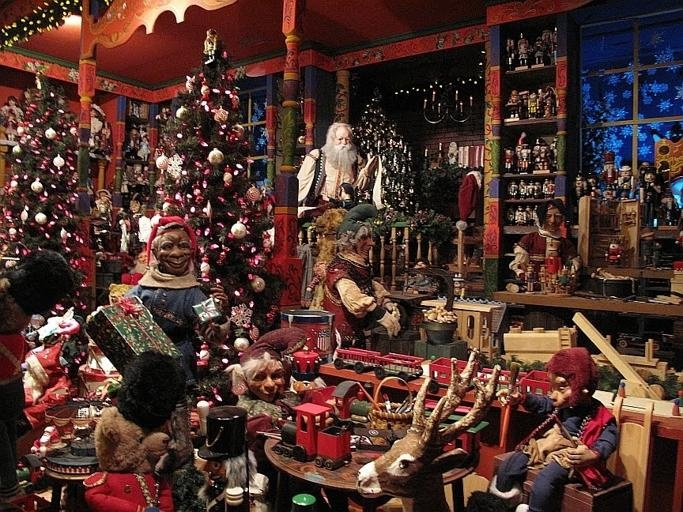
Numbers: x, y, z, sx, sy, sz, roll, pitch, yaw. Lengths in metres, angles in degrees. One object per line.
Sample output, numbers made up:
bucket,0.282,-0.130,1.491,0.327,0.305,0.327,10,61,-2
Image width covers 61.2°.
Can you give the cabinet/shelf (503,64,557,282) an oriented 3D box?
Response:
cabinet/shelf,2.420,-0.948,7.200,0.688,2.705,0.309,-2,-20,28
